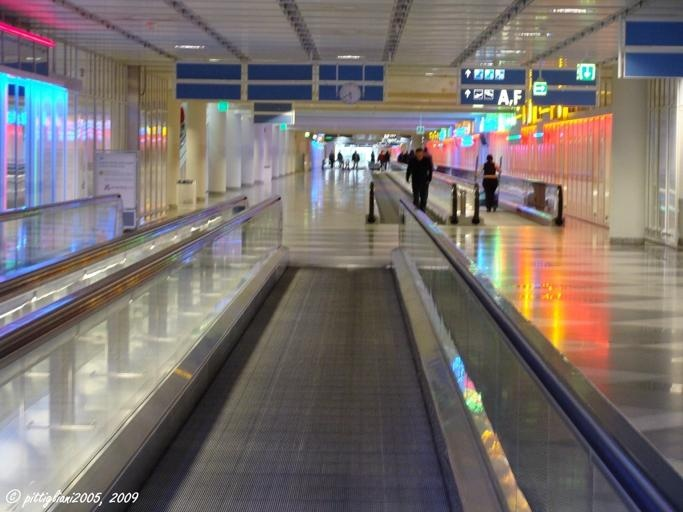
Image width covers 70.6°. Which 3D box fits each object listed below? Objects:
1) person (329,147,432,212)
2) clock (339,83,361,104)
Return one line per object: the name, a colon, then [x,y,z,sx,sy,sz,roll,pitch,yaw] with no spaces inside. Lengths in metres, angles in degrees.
person: [2.082,-2.057,12.965,0.619,1.713,1.395,2,12,8]
clock: [0.234,-4.613,13.521,0.608,0.522,0.161,0,11,-3]
